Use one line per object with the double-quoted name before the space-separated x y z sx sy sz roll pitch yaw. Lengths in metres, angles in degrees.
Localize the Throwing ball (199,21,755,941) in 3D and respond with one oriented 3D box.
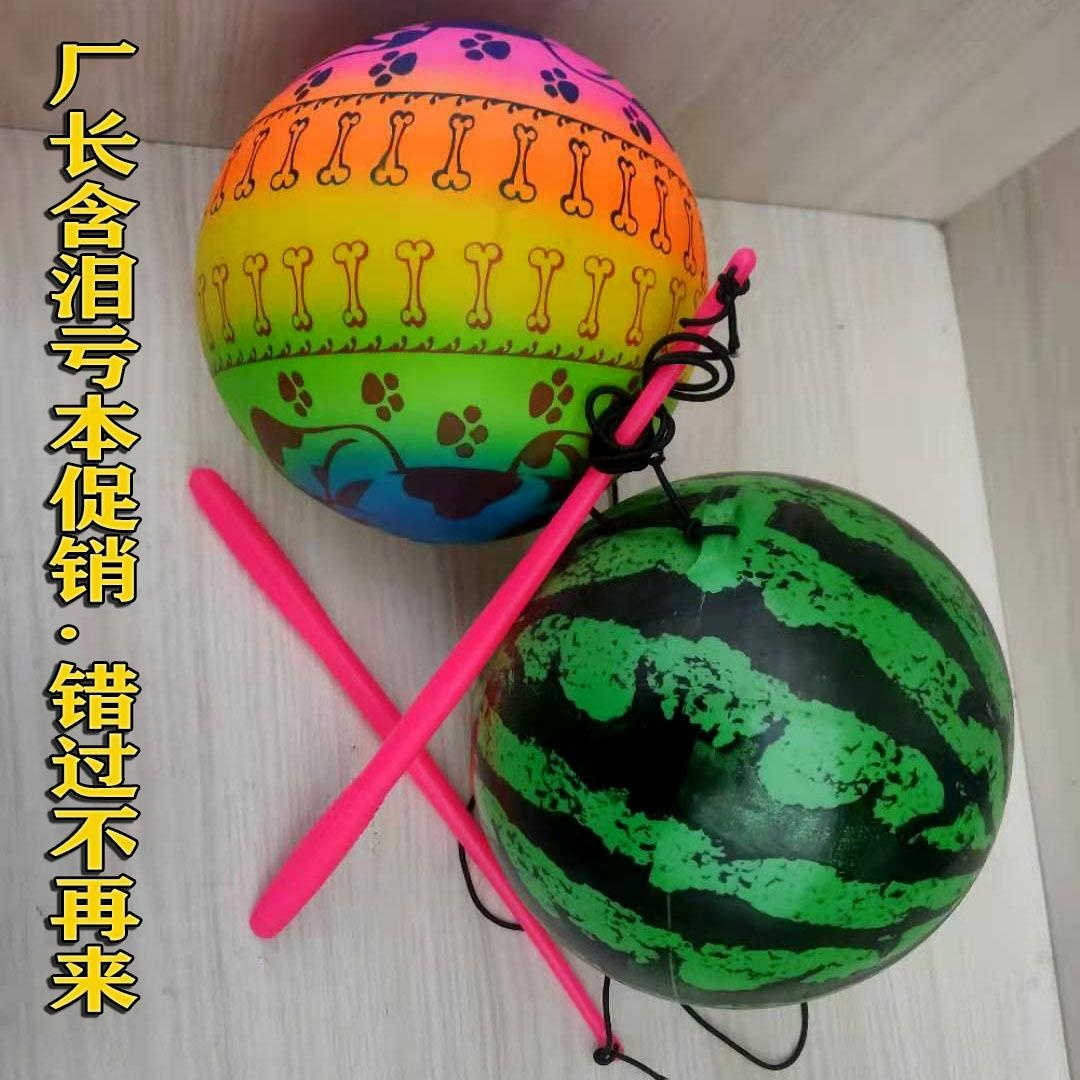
"Throwing ball" -0.030 -0.096 1.321 0.297 0.691 0.365 -6 48 -14
